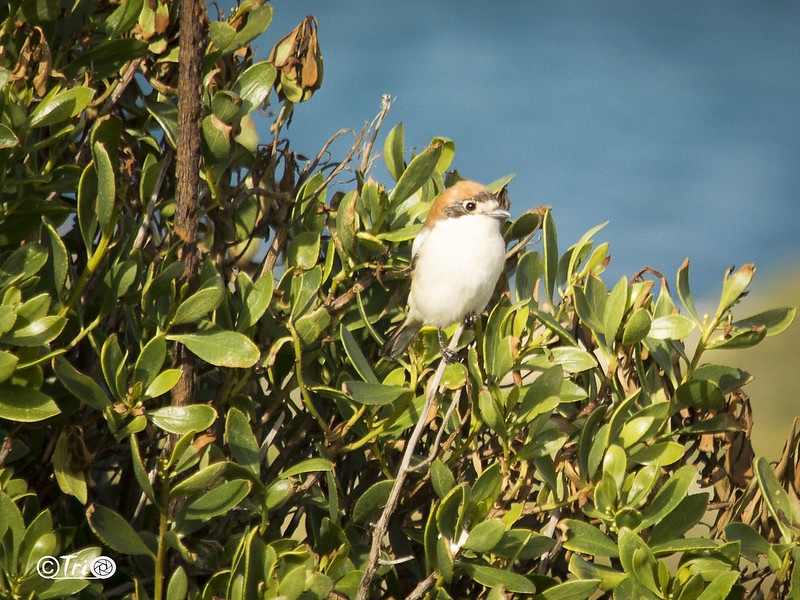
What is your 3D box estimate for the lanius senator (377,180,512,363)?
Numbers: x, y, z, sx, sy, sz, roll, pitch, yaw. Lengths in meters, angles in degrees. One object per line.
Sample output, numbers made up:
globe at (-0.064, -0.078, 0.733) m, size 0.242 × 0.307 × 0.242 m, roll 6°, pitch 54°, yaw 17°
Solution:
lanius senator at (0.215, -0.080, 5.275) m, size 0.403 × 0.938 × 0.367 m, roll 23°, pitch -19°, yaw -4°
